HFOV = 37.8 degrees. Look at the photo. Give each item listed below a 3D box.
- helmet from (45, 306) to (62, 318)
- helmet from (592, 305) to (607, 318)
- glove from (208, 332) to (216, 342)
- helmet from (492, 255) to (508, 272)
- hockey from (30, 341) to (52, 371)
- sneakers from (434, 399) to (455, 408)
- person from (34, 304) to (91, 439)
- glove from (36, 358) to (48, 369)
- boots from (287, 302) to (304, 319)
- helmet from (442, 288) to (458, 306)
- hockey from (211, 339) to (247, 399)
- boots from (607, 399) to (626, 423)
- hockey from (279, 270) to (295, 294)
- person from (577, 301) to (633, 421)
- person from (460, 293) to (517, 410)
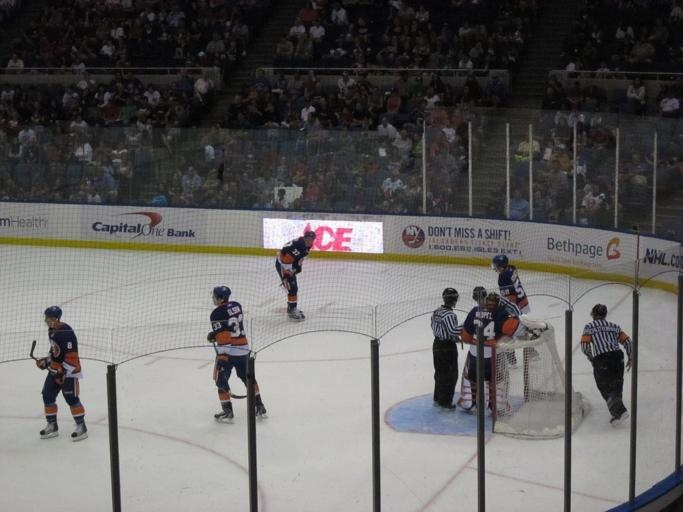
[{"bbox_3d":[-3.775,0.744,12.985,0.193,0.182,0.146,-11,18,-17],"label":"helmet"},{"bbox_3d":[3.459,0.738,13.332,0.146,0.191,0.185,2,15,5],"label":"helmet"},{"bbox_3d":[-1.745,1.054,13.290,0.108,0.172,0.293,-1,8,-8],"label":"glove"},{"bbox_3d":[2.464,0.077,15.329,0.244,0.251,0.196,24,30,31],"label":"helmet"},{"bbox_3d":[-4.215,1.388,13.890,0.111,0.485,0.471,-13,-26,7],"label":"hockey"},{"bbox_3d":[1.404,1.980,13.534,0.277,0.126,0.105,-2,4,4],"label":"sneakers"},{"bbox_3d":[-3.704,1.501,13.077,0.600,1.716,0.551,-3,8,-16],"label":"person"},{"bbox_3d":[-3.891,1.363,12.849,0.104,0.129,0.139,9,29,6],"label":"glove"},{"bbox_3d":[-0.707,0.895,16.466,0.413,0.312,0.146,1,11,0],"label":"boots"},{"bbox_3d":[1.494,0.548,13.519,0.215,0.223,0.184,0,4,-2],"label":"helmet"},{"bbox_3d":[-1.507,1.496,13.334,0.444,1.012,0.581,3,20,3],"label":"hockey"},{"bbox_3d":[3.615,1.993,12.997,0.257,0.335,0.193,2,8,15],"label":"boots"},{"bbox_3d":[-0.926,0.414,16.990,0.335,0.445,0.240,-4,-11,-21],"label":"hockey"},{"bbox_3d":[3.510,1.396,13.150,0.650,1.466,0.480,5,9,33],"label":"person"},{"bbox_3d":[1.912,1.228,13.442,0.773,1.670,0.499,0,16,5],"label":"person"}]
